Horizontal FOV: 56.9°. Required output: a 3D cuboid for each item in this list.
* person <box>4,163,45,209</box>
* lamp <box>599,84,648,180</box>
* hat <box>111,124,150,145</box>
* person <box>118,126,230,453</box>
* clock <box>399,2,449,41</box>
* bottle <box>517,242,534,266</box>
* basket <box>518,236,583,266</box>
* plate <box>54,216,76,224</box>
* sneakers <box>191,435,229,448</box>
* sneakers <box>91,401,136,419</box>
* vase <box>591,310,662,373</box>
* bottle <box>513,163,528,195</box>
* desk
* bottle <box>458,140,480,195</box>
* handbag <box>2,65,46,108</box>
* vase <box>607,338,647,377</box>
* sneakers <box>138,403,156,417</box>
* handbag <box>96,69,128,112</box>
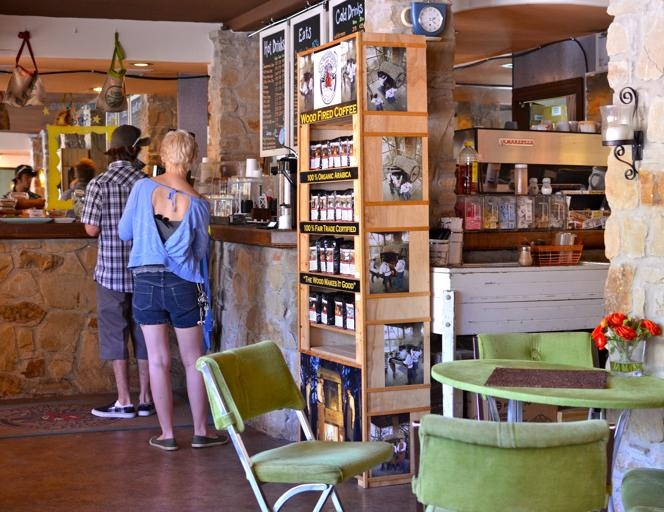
[{"bbox_3d":[-3.418,-0.788,6.738,0.348,0.555,2.270,-1,4,-28],"label":"person"},{"bbox_3d":[1.445,-0.612,3.063,0.136,0.463,0.154,-1,4,-29],"label":"lamp"},{"bbox_3d":[-1.613,-0.993,4.955,0.290,0.163,0.209,-6,17,-25],"label":"hat"},{"bbox_3d":[-1.085,0.242,4.208,0.678,2.220,0.348,0,3,-19],"label":"person"},{"bbox_3d":[0.620,-1.542,4.015,0.337,0.249,0.106,0,3,-11],"label":"clock"},{"bbox_3d":[1.271,-0.018,4.161,0.132,0.179,0.129,1,-3,0],"label":"bottle"},{"bbox_3d":[1.492,-0.035,4.187,0.356,0.158,0.216,2,-1,-2],"label":"basket"},{"bbox_3d":[-2.427,-0.324,5.581,0.179,0.054,0.490,-1,4,-24],"label":"plate"},{"bbox_3d":[-0.869,1.310,4.387,0.250,0.088,0.094,-1,1,-34],"label":"sneakers"},{"bbox_3d":[-1.764,1.258,4.976,0.326,0.116,0.143,2,-6,9],"label":"sneakers"},{"bbox_3d":[1.389,0.407,2.947,0.297,0.271,0.289,2,-6,-12],"label":"vase"},{"bbox_3d":[1.650,-0.683,5.381,0.106,0.260,0.185,3,4,34],"label":"bottle"},{"bbox_3d":[1.030,0.445,3.435,0.995,0.807,0.403,-2,8,-14],"label":"desk"},{"bbox_3d":[1.088,-0.718,4.950,0.159,0.434,0.361,1,4,11],"label":"bottle"},{"bbox_3d":[-3.788,-2.109,7.542,0.571,0.559,0.306,8,7,-24],"label":"handbag"},{"bbox_3d":[1.350,0.457,2.815,0.174,0.181,0.168,-1,-6,34],"label":"vase"},{"bbox_3d":[-1.536,1.266,5.029,0.065,0.068,0.175,0,1,-3],"label":"sneakers"},{"bbox_3d":[-2.688,-2.020,7.543,0.303,0.427,0.384,-2,4,-37],"label":"handbag"}]
